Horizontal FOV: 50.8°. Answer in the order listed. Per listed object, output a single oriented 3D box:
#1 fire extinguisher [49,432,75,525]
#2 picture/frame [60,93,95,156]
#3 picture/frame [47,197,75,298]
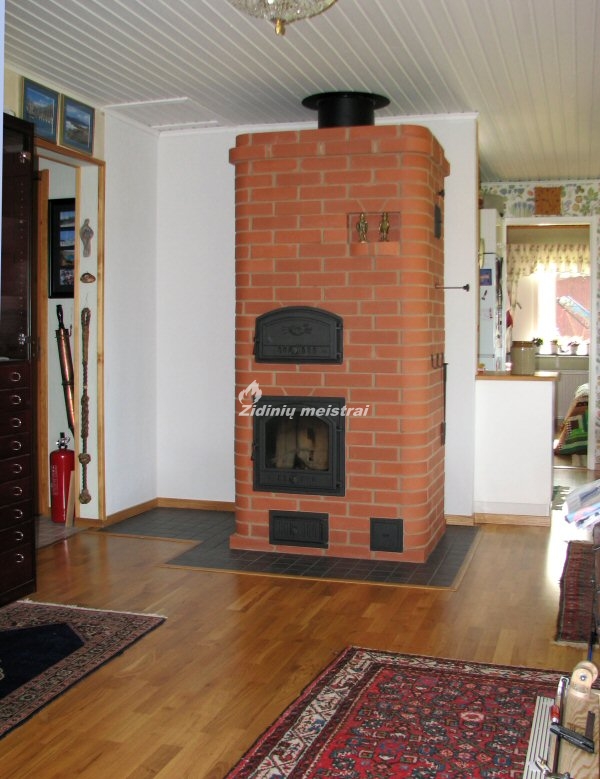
[{"bbox_3d":[-1.677,0.623,4.467,0.155,0.631,0.355,-4,5,-32],"label":"fire extinguisher"},{"bbox_3d":[-1.441,-1.697,4.047,0.041,0.379,0.408,3,2,20],"label":"picture/frame"},{"bbox_3d":[-1.769,-1.042,4.663,0.249,0.719,0.068,0,5,18],"label":"picture/frame"}]
